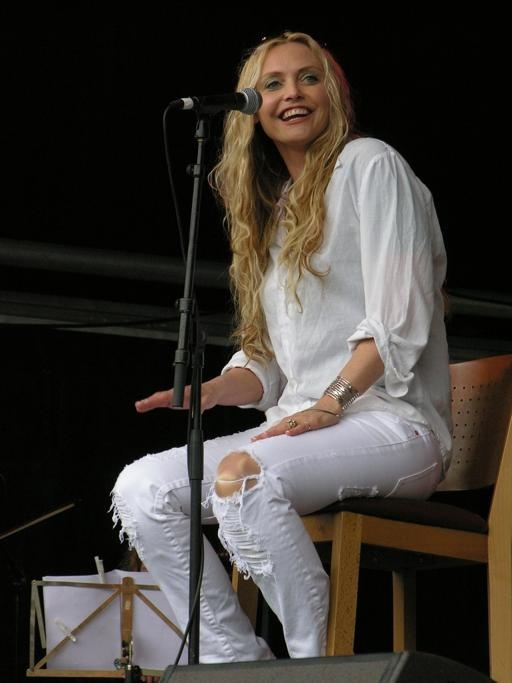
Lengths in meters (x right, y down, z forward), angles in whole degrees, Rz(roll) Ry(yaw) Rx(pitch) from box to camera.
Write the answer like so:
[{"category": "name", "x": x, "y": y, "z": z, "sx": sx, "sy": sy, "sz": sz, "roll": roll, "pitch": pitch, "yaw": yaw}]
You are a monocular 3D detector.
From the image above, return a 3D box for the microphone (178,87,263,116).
[{"category": "microphone", "x": -0.074, "y": -0.509, "z": 2.222, "sx": 0.081, "sy": 0.061, "sz": 0.209, "roll": 2, "pitch": 9, "yaw": 30}]

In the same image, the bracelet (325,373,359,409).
[{"category": "bracelet", "x": 0.180, "y": 0.105, "z": 2.257, "sx": 0.066, "sy": 0.061, "sz": 0.071, "roll": -37, "pitch": 18, "yaw": -2}]

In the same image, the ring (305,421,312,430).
[{"category": "ring", "x": 0.108, "y": 0.175, "z": 2.229, "sx": 0.015, "sy": 0.016, "sz": 0.004, "roll": -4, "pitch": -5, "yaw": -6}]

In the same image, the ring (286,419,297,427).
[{"category": "ring", "x": 0.075, "y": 0.171, "z": 2.246, "sx": 0.018, "sy": 0.006, "sz": 0.012, "roll": -4, "pitch": 26, "yaw": -22}]
